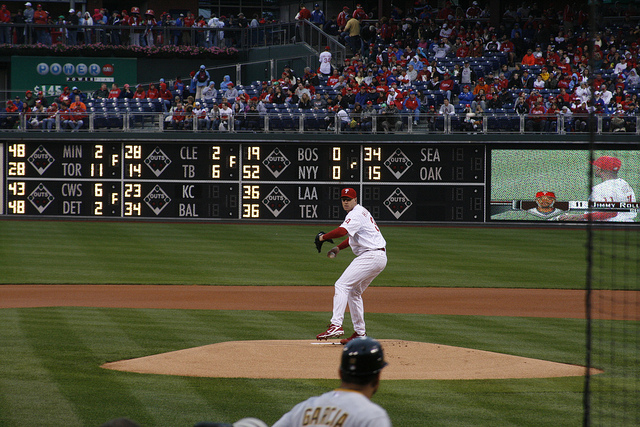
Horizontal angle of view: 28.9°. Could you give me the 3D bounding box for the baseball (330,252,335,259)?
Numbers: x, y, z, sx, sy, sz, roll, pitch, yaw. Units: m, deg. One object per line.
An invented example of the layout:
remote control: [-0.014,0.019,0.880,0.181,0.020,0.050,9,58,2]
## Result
baseball: [0.328,1.125,34.851,0.124,0.129,0.276,-1,1,0]

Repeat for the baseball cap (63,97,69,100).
baseball cap: [-11.386,-5.132,55.345,0.189,0.094,0.166,-1,2,-19]

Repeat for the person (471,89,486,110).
person: [6.766,-4.858,52.756,0.571,0.858,0.479,0,2,13]

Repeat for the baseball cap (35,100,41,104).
baseball cap: [-12.634,-5.028,55.453,0.271,0.125,0.247,-9,13,3]

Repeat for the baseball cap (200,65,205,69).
baseball cap: [-5.370,-6.639,56.374,0.225,0.204,0.265,-1,12,-8]

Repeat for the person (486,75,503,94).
person: [7.453,-5.500,53.023,0.573,0.799,1.073,0,2,27]

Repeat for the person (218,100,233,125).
person: [-4.104,-4.354,53.242,0.575,1.095,1.001,-1,2,-7]

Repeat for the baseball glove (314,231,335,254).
baseball glove: [0.166,0.789,35.144,0.654,0.321,0.478,4,33,-13]

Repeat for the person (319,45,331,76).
person: [0.209,-6.917,56.473,0.514,1.381,0.974,-1,2,-1]

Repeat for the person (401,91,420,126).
person: [3.866,-4.437,52.540,0.658,1.464,1.085,-1,2,-2]

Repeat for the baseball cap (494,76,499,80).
baseball cap: [7.581,-5.827,53.330,0.195,0.093,0.188,0,4,19]

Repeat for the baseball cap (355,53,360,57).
baseball cap: [1.668,-7.140,55.949,0.223,0.050,0.208,-2,-2,-8]

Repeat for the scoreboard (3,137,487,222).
scoreboard: [-3.356,-1.510,52.703,19.830,3.749,1.244,-1,2,1]
